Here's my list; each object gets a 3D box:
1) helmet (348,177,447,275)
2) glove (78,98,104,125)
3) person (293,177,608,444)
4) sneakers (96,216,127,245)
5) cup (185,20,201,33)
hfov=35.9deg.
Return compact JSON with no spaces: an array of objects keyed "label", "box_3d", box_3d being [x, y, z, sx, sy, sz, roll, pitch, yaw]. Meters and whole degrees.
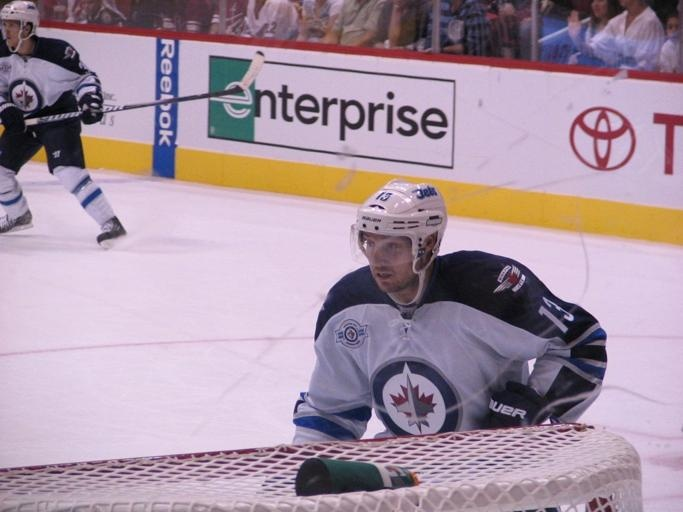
[{"label":"helmet","box_3d":[0.194,-0.085,3.353,0.316,0.312,0.255,-6,7,-42]},{"label":"glove","box_3d":[-1.345,-0.771,5.650,0.113,0.122,0.131,-2,-1,-5]},{"label":"person","box_3d":[0.363,0.214,3.398,0.984,0.855,0.208,6,10,9]},{"label":"sneakers","box_3d":[-1.329,-0.137,6.112,0.199,0.133,0.103,-23,-5,-42]},{"label":"cup","box_3d":[-0.872,-1.339,6.169,0.079,0.075,0.079,3,18,-1]}]
